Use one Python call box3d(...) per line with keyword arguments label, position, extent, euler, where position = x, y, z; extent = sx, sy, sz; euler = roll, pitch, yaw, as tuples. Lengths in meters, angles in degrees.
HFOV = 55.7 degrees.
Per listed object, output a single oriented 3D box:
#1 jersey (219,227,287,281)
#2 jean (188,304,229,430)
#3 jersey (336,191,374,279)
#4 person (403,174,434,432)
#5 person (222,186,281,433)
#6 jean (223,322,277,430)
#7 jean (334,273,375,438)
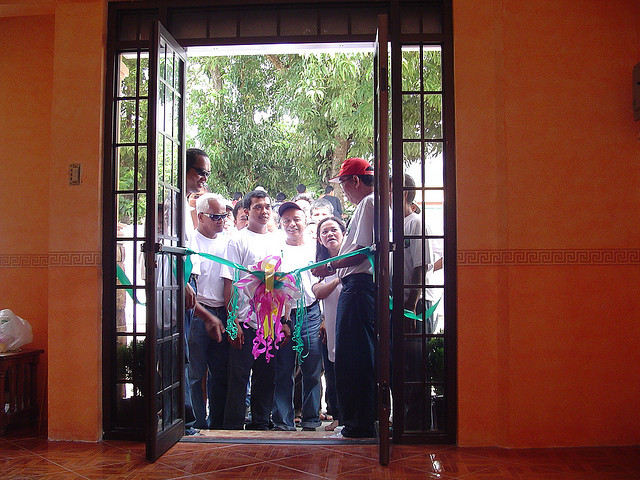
box3d(label="jersey", position=(-0.643, 0.068, 5.641), extent=(0.435, 0.408, 0.175), euler=(-12, -21, 20))
box3d(label="jean", position=(-0.983, 1.190, 5.380), extent=(0.358, 0.986, 0.290), euler=(-2, 13, -7))
box3d(label="jersey", position=(0.305, -0.011, 5.145), extent=(0.289, 0.698, 0.251), euler=(0, 13, 1))
box3d(label="person", position=(0.762, 0.487, 4.664), extent=(0.236, 1.875, 0.516), euler=(1, 13, 7))
box3d(label="person", position=(-0.621, 0.648, 5.498), extent=(0.523, 1.901, 0.912), euler=(-1, 13, -2))
box3d(label="jean", position=(-0.615, 1.226, 5.363), extent=(0.448, 0.808, 0.305), euler=(0, 13, 5))
box3d(label="jean", position=(0.306, 1.010, 5.263), extent=(0.393, 1.610, 0.410), euler=(4, 17, 4))
